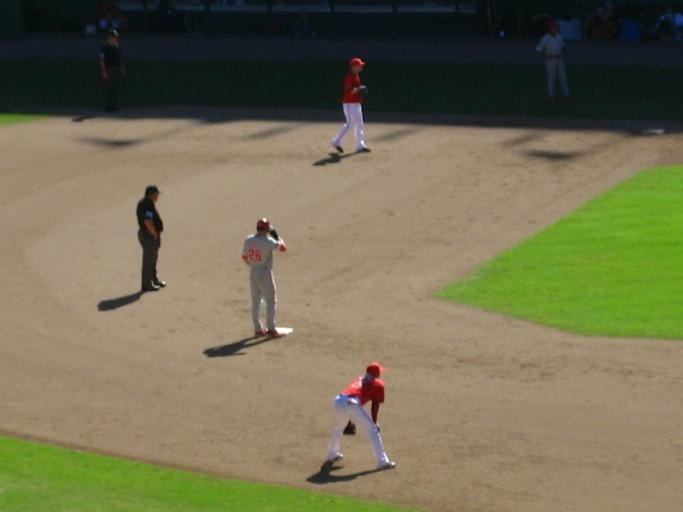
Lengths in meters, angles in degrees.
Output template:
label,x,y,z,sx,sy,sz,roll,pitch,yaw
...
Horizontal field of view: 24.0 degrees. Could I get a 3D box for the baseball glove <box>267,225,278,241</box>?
label,x,y,z,sx,sy,sz,roll,pitch,yaw
baseball glove,-1.651,-0.561,38.212,0.168,0.208,0.606,26,2,19

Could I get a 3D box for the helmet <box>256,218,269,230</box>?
label,x,y,z,sx,sy,sz,roll,pitch,yaw
helmet,-1.806,-0.778,37.471,0.265,0.242,0.260,11,-14,-37

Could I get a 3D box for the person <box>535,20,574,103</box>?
label,x,y,z,sx,sy,sz,roll,pitch,yaw
person,6.237,-5.810,47.808,0.865,2.439,1.490,2,13,11

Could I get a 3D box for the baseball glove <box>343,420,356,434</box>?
label,x,y,z,sx,sy,sz,roll,pitch,yaw
baseball glove,0.165,3.722,35.030,0.205,0.325,0.327,-1,-2,-1

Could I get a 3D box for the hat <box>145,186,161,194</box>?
label,x,y,z,sx,sy,sz,roll,pitch,yaw
hat,-4.590,-1.646,39.178,0.234,0.274,0.297,4,9,26

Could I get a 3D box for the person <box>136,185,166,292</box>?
label,x,y,z,sx,sy,sz,roll,pitch,yaw
person,-4.676,-0.442,39.643,0.618,2.723,0.991,-3,13,-7

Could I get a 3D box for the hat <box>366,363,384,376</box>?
label,x,y,z,sx,sy,sz,roll,pitch,yaw
hat,0.747,2.411,34.705,0.248,0.191,0.368,18,31,27

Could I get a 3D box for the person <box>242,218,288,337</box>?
label,x,y,z,sx,sy,sz,roll,pitch,yaw
person,-1.824,0.494,37.929,0.894,2.908,0.750,-1,13,1
